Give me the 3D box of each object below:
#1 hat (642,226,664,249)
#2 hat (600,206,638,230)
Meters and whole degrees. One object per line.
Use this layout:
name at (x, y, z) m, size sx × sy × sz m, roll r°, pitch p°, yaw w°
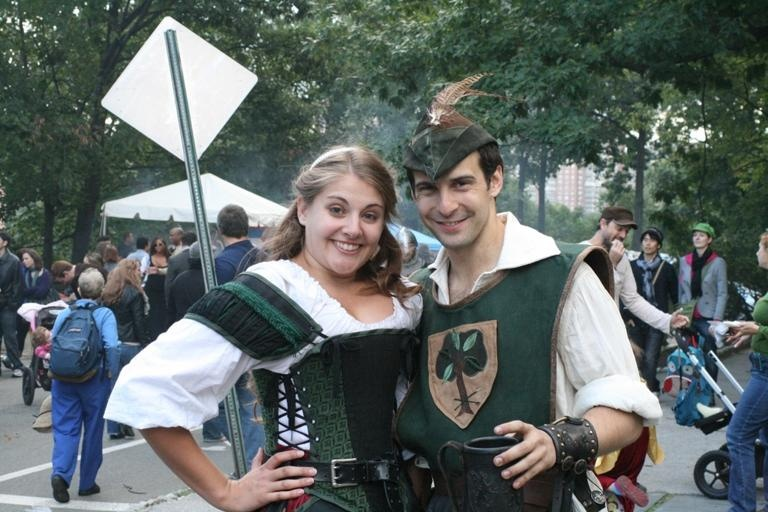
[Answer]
hat at (4.752, -0.345, 18.310) m, size 0.304 × 0.292 × 0.378 m, roll 6°, pitch -19°, yaw 21°
hat at (3.647, -0.605, 16.110) m, size 0.335 × 0.218 × 0.458 m, roll 16°, pitch -9°, yaw -41°
